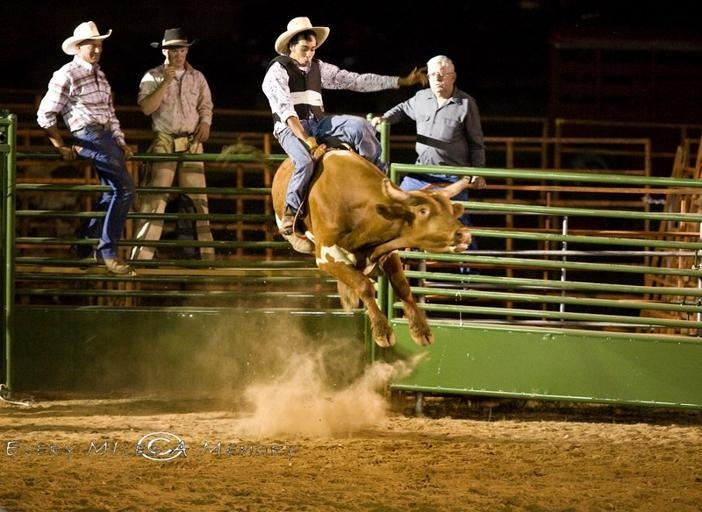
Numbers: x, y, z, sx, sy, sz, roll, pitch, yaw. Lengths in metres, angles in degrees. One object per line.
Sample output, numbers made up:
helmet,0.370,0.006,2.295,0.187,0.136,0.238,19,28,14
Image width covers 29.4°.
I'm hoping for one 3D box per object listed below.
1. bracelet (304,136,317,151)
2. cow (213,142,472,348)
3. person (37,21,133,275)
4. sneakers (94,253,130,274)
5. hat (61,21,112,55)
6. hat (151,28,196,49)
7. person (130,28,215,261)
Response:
bracelet,-0.434,-1.183,14.243,0.101,0.122,0.111,18,-46,-42
cow,0.296,-0.098,13.977,1.827,2.085,0.543,3,0,31
person,-2.990,-1.225,15.352,1.166,2.934,0.287,4,0,-10
sneakers,-2.699,0.121,15.338,0.484,0.175,0.163,12,31,0
hat,-3.046,-2.517,15.476,0.483,0.412,0.500,3,0,-5
hat,-2.135,-2.552,16.116,0.638,0.218,0.663,-4,3,-13
person,-2.080,-1.332,15.934,1.007,2.801,0.911,4,0,1
